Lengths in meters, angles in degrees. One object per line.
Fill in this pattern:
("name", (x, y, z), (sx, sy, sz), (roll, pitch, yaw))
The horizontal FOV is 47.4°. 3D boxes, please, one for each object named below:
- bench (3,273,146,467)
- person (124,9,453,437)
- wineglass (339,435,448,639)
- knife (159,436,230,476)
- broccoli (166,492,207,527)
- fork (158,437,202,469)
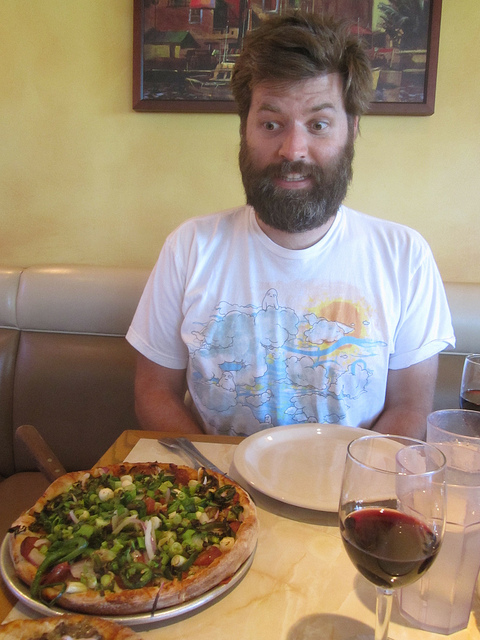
("bench", (-0.370, 0.143, 1.864), (0.604, 0.662, 0.572), (0, 2, -1))
("person", (0.115, -0.185, 1.287), (0.812, 0.980, 0.433), (-2, 18, -7))
("wineglass", (0.143, 0.197, 0.530), (0.092, 0.168, 0.137), (3, 17, 10))
("knife", (-0.090, 0.214, 0.911), (0.042, 0.011, 0.137), (-6, 16, -39))
("broccoli", (-0.075, 0.248, 0.716), (0.029, 0.015, 0.036), (7, 9, 10))
("fork", (-0.110, 0.206, 0.930), (0.026, 0.018, 0.174), (-16, 16, -24))
